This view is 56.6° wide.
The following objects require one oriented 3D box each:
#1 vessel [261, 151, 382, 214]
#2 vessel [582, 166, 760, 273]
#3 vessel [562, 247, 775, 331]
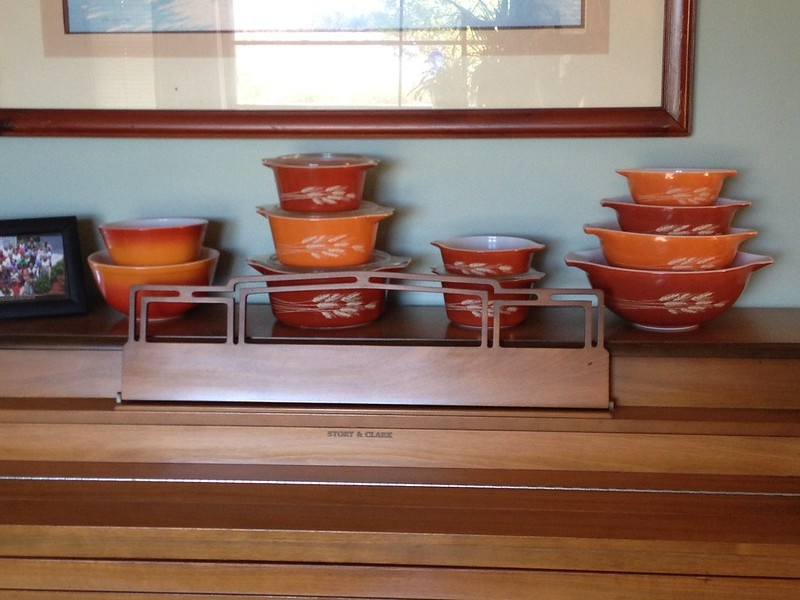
[{"bbox_3d":[-0.169,-0.236,1.583,0.276,0.068,0.213,-1,6,12],"label":"vessel"},{"bbox_3d":[0.541,-0.153,1.470,0.341,0.116,0.289,2,4,43],"label":"vessel"},{"bbox_3d":[0.556,-0.004,1.543,0.424,0.089,0.203,-3,1,-7],"label":"vessel"}]
